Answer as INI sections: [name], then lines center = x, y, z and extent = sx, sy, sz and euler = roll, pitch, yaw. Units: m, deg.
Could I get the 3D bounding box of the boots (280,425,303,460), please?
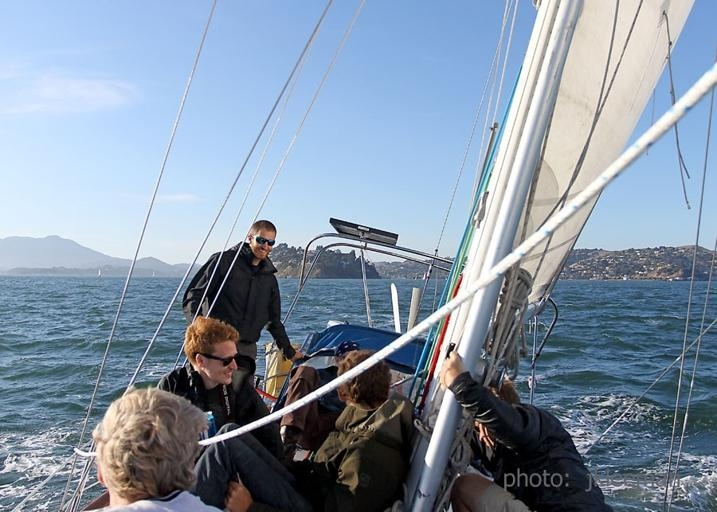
[boots]
center = -0.463, 1.268, 3.227
extent = 0.184, 0.252, 0.092
euler = 8, 0, -26

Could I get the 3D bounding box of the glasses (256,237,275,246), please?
[glasses]
center = -0.830, -0.121, 4.348
extent = 0.180, 0.063, 0.094
euler = 5, -6, 14
